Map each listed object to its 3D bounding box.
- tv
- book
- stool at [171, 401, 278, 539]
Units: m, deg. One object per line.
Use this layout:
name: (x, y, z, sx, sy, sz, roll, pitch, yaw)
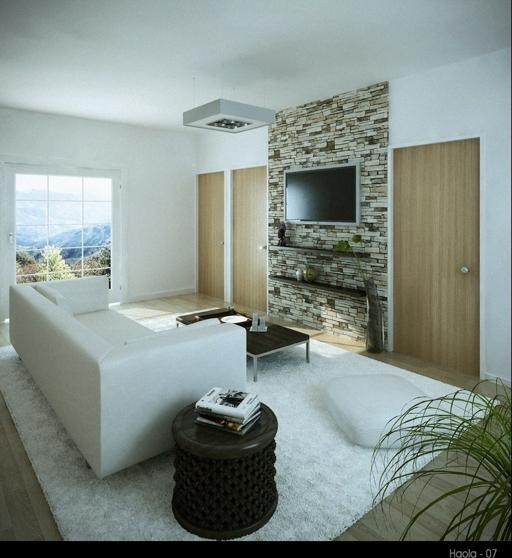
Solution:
tv: (0.711, -0.945, 4.671, 0.053, 0.626, 1.119, -6, 11, -37)
book: (-0.122, 0.596, 1.909, 0.171, 0.074, 0.177, 5, 10, 28)
stool: (-0.145, 0.881, 1.941, 0.442, 0.404, 0.501, 2, 0, 20)
